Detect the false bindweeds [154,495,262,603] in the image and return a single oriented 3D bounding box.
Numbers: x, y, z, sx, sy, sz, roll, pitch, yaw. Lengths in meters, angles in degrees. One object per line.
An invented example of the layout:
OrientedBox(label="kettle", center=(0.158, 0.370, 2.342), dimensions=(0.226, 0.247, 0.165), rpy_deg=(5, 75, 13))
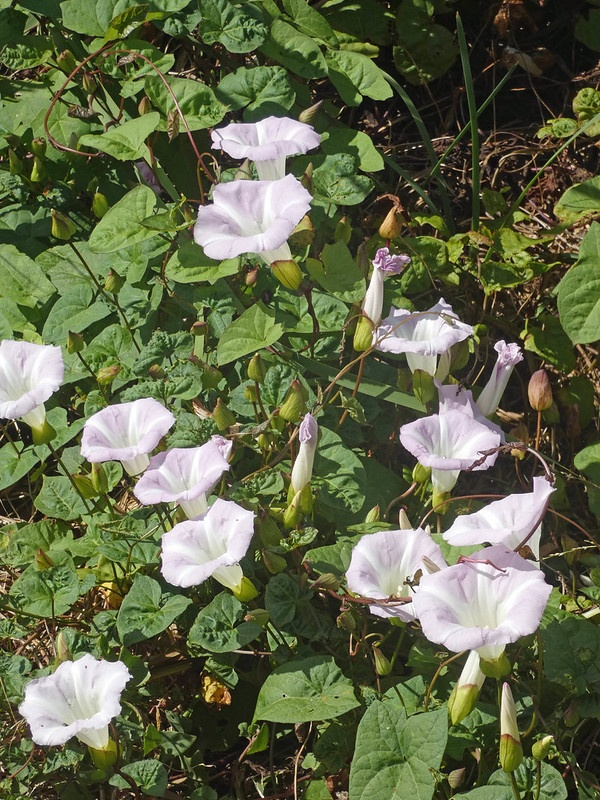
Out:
OrientedBox(label="false bindweeds", center=(-0.182, 0.371, 1.717), dimensions=(0.238, 0.194, 0.202), rpy_deg=(-23, 53, 4))

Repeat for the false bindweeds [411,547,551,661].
OrientedBox(label="false bindweeds", center=(0.363, 0.422, 1.491), dimensions=(0.230, 0.102, 0.231), rpy_deg=(-25, 18, -16))

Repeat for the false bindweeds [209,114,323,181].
OrientedBox(label="false bindweeds", center=(-0.116, -0.788, 2.171), dimensions=(0.272, 0.113, 0.249), rpy_deg=(22, 42, 33))

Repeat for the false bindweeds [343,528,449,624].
OrientedBox(label="false bindweeds", center=(0.233, 0.408, 1.677), dimensions=(0.200, 0.116, 0.189), rpy_deg=(-2, 36, 31))

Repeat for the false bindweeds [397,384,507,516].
OrientedBox(label="false bindweeds", center=(0.391, 0.145, 1.927), dimensions=(0.250, 0.224, 0.222), rpy_deg=(-25, 31, -36))

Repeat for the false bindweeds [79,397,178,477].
OrientedBox(label="false bindweeds", center=(-0.439, 0.076, 1.873), dimensions=(0.230, 0.134, 0.209), rpy_deg=(-17, 51, -2))

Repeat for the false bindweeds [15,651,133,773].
OrientedBox(label="false bindweeds", center=(-0.468, 0.719, 1.618), dimensions=(0.252, 0.214, 0.241), rpy_deg=(-9, 5, -5))

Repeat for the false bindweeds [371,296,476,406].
OrientedBox(label="false bindweeds", center=(0.353, -0.184, 2.189), dimensions=(0.330, 0.289, 0.307), rpy_deg=(-12, 38, -8))

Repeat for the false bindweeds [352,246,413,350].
OrientedBox(label="false bindweeds", center=(0.230, -0.307, 2.145), dimensions=(0.123, 0.320, 0.277), rpy_deg=(14, 53, 18))
